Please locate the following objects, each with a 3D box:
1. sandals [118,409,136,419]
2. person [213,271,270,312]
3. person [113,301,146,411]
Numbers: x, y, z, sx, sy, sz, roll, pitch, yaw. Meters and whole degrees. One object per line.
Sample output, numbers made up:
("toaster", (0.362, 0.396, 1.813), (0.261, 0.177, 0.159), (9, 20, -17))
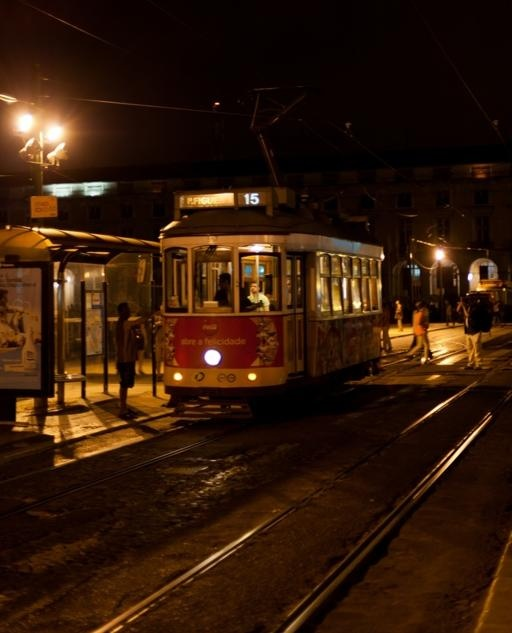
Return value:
("sandals", (-2.338, 1.753, 11.554), (0.164, 0.168, 0.461), (3, 4, 3))
("person", (-0.217, -0.401, 10.677), (0.909, 0.646, 0.274), (-1, -2, -6))
("person", (-2.425, 0.780, 11.963), (0.478, 2.063, 1.271), (-1, -2, -13))
